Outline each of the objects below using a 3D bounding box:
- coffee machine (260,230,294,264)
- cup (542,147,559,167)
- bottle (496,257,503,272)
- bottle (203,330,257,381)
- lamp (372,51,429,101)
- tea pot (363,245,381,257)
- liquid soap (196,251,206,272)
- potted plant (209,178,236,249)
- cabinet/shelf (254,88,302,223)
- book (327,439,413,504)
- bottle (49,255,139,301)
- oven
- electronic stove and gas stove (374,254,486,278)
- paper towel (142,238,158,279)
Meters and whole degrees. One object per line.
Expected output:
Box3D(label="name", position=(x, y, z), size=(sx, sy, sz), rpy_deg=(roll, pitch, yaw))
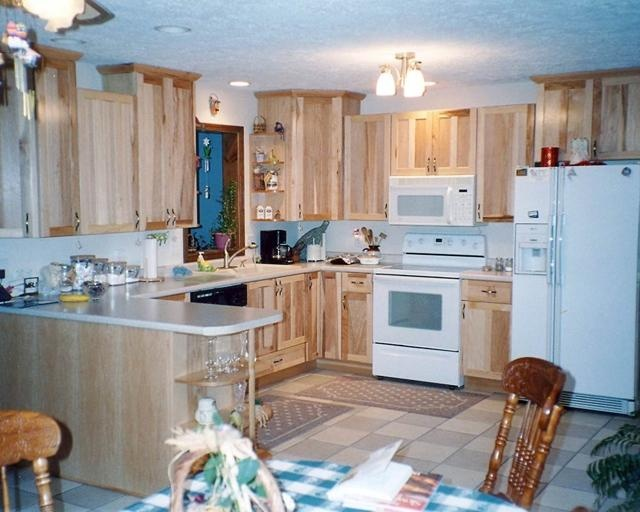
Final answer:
Box3D(label="coffee machine", position=(-0.515, -0.109, 5.815), size=(0.330, 0.362, 0.367), rpy_deg=(-2, 6, -18))
Box3D(label="cup", position=(2.016, -0.864, 4.562), size=(0.187, 0.182, 0.177), rpy_deg=(0, 7, 0))
Box3D(label="bottle", position=(1.759, 0.089, 5.057), size=(0.077, 0.111, 0.175), rpy_deg=(2, 5, 19))
Box3D(label="bottle", position=(-0.572, 0.571, 3.107), size=(0.253, 0.231, 0.404), rpy_deg=(-1, 5, -12))
Box3D(label="lamp", position=(0.637, -1.342, 3.802), size=(0.455, 0.270, 0.356), rpy_deg=(-8, 26, 2))
Box3D(label="tea pot", position=(0.566, -0.057, 5.731), size=(0.151, 0.097, 0.142), rpy_deg=(-1, 4, 0))
Box3D(label="liquid soap", position=(-1.158, 0.047, 4.991), size=(0.075, 0.165, 0.201), rpy_deg=(-2, 5, -14))
Box3D(label="potted plant", position=(-1.044, -0.431, 5.552), size=(0.269, 0.709, 0.246), rpy_deg=(0, 6, 7))
Box3D(label="cabinet/shelf", position=(-0.471, -1.080, 5.633), size=(0.567, 1.358, 0.198), rpy_deg=(4, 7, 33))
Box3D(label="book", position=(0.124, 0.561, 1.405), size=(0.243, 0.072, 0.171), rpy_deg=(-11, 0, 35))
Box3D(label="bottle", position=(-1.760, 0.156, 3.994), size=(0.346, 0.157, 0.460), rpy_deg=(3, 3, 24))
Box3D(label="oven", position=(1.147, 0.732, 5.313), size=(0.982, 1.129, 0.844), rpy_deg=(0, -3, 40))
Box3D(label="electronic stove and gas stove", position=(1.138, 0.088, 5.305), size=(1.051, 0.171, 0.798), rpy_deg=(1, 5, 20))
Box3D(label="paper towel", position=(-1.486, 0.023, 4.413), size=(0.218, 0.334, 0.099), rpy_deg=(4, 8, 39))
